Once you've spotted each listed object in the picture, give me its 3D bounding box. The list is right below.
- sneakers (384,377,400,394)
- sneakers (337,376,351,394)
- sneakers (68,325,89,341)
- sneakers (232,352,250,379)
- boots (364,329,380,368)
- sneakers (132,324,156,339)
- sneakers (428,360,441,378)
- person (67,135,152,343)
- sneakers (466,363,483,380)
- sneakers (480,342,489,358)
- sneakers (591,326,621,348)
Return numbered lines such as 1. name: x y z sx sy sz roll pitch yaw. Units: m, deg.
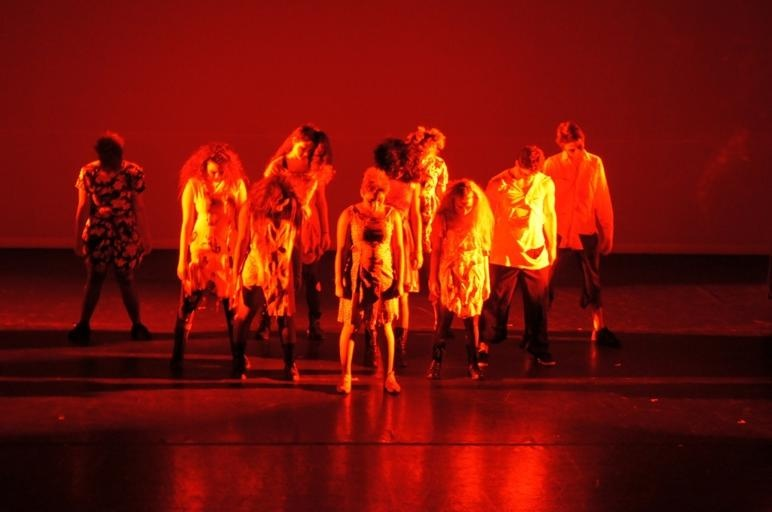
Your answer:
1. sneakers: 0.042 1.167 6.816 0.167 0.169 0.096 2 5 16
2. sneakers: -0.388 1.153 6.775 0.105 0.171 0.062 6 -8 -1
3. sneakers: -3.229 0.797 7.866 0.215 0.146 0.257 -5 15 -23
4. sneakers: -1.384 0.996 7.040 0.167 0.205 0.337 -3 14 -12
5. boots: -0.157 0.897 7.373 0.166 0.303 0.313 -1 14 -4
6. sneakers: -2.582 0.811 7.971 0.221 0.154 0.126 0 45 -7
7. sneakers: 0.441 1.046 7.089 0.114 0.150 0.203 1 14 3
8. person: -2.945 -0.200 7.866 0.820 2.088 0.542 -4 14 -19
9. sneakers: 0.825 1.065 7.053 0.129 0.136 0.172 0 14 -2
10. sneakers: 0.959 0.936 7.539 0.121 0.115 0.148 4 8 2
11. sneakers: 2.312 0.865 8.005 0.155 0.127 0.291 -4 3 -8
